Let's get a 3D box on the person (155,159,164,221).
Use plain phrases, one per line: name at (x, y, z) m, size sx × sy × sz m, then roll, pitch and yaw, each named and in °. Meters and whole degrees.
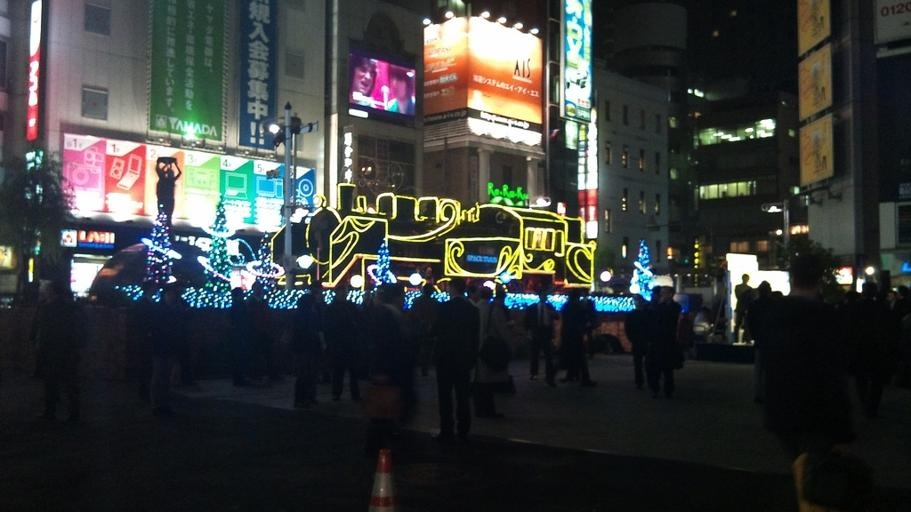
person at (-12.067, -2.835, 40.076) m, size 0.396 × 2.406 × 1.381 m, roll 2°, pitch -5°, yaw -17°
